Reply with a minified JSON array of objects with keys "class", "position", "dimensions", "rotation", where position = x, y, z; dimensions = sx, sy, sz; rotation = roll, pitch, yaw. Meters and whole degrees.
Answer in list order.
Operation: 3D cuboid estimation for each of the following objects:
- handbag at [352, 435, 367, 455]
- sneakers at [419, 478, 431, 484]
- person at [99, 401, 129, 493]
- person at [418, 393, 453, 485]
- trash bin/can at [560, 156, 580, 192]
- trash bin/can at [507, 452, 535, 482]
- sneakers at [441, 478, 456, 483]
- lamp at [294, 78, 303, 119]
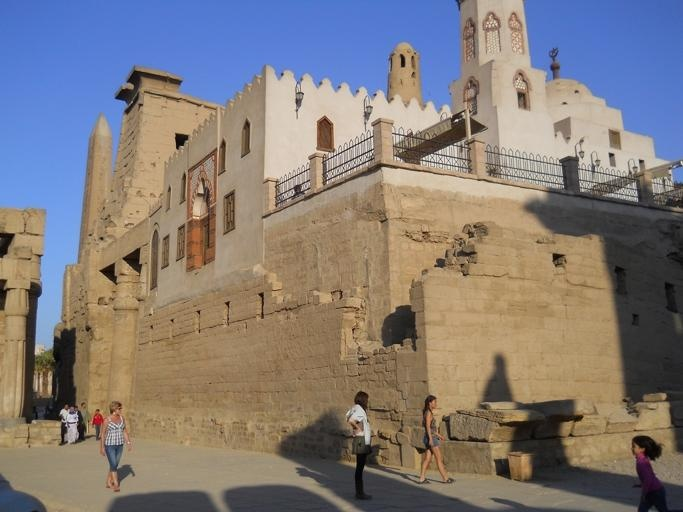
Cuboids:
[{"class":"handbag","position":[0.305,3.138,11.396],"dimensions":[0.262,0.288,0.140],"rotation":[-5,-13,19]},{"class":"sneakers","position":[1.503,4.048,12.346],"dimensions":[0.230,0.081,0.083],"rotation":[0,-1,-6]},{"class":"person","position":[-4.334,3.594,13.123],"dimensions":[0.488,1.589,1.399],"rotation":[3,-13,-17]},{"class":"person","position":[1.713,3.367,12.723],"dimensions":[0.620,1.555,1.656],"rotation":[-2,-12,6]},{"class":"trash bin/can","position":[6.365,-2.257,19.040],"dimensions":[0.490,1.094,0.408],"rotation":[-4,-12,12]},{"class":"trash bin/can","position":[3.258,3.801,12.406],"dimensions":[0.444,0.552,0.487],"rotation":[18,-23,-39]},{"class":"sneakers","position":[1.915,3.978,12.153],"dimensions":[0.177,0.064,0.095],"rotation":[-1,-3,-23]},{"class":"lamp","position":[-1.307,-5.000,21.571],"dimensions":[0.250,1.362,0.542],"rotation":[0,-12,-3]}]
